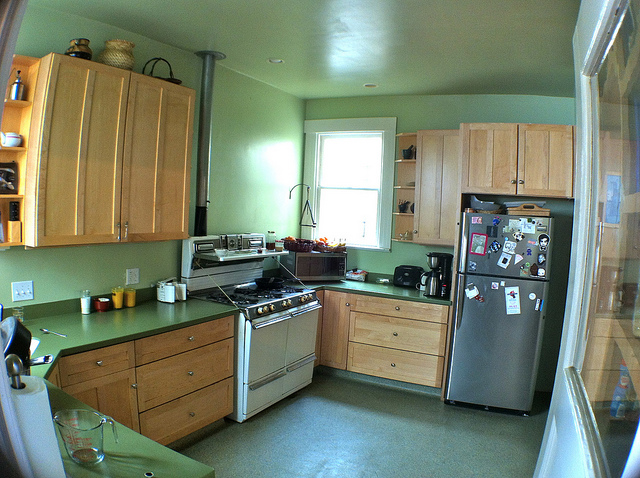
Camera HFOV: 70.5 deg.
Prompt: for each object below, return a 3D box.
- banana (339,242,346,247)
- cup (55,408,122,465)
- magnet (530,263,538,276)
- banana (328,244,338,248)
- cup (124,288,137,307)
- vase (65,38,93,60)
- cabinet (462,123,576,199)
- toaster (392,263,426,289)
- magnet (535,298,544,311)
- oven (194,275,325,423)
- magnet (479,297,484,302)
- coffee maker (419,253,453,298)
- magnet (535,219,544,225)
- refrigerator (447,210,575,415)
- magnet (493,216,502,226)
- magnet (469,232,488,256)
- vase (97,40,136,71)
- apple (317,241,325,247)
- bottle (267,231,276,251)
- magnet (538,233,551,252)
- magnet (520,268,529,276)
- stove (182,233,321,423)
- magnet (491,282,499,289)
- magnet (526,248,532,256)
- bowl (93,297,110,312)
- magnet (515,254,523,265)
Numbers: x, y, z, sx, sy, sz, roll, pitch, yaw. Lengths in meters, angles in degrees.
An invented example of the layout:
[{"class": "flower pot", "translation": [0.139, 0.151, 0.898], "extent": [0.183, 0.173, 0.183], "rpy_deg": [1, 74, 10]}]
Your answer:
[{"class": "banana", "translation": [0.234, 0.051, 4.872], "extent": [0.042, 0.022, 0.077], "rpy_deg": [-1, 6, -27]}, {"class": "cup", "translation": [-0.789, 0.683, 1.550], "extent": [0.176, 0.134, 0.113], "rpy_deg": [-3, -5, -4]}, {"class": "magnet", "translation": [1.802, 0.253, 3.806], "extent": [0.066, 0.087, 0.021], "rpy_deg": [1, 1, 16]}, {"class": "banana", "translation": [0.143, 0.059, 4.810], "extent": [0.073, 0.020, 0.124], "rpy_deg": [9, 9, 43]}, {"class": "cup", "translation": [-1.388, 0.428, 3.318], "extent": [0.112, 0.143, 0.108], "rpy_deg": [3, -1, 0]}, {"class": "vase", "translation": [-1.484, -1.160, 2.783], "extent": [0.156, 0.137, 0.152], "rpy_deg": [-2, 4, -27]}, {"class": "cabinet", "translation": [1.764, -0.698, 4.255], "extent": [1.048, 0.665, 0.562], "rpy_deg": [2, -3, -1]}, {"class": "toaster", "translation": [0.912, 0.348, 4.756], "extent": [0.368, 0.314, 0.220], "rpy_deg": [4, 6, 28]}, {"class": "magnet", "translation": [1.850, 0.545, 3.816], "extent": [0.081, 0.078, 0.022], "rpy_deg": [1, -4, 43]}, {"class": "oven", "translation": [-0.557, 0.886, 4.021], "extent": [0.735, 0.997, 1.085], "rpy_deg": [3, 4, 25]}, {"class": "magnet", "translation": [1.391, 0.513, 3.893], "extent": [0.042, 0.037, 0.010], "rpy_deg": [-15, 4, 19]}, {"class": "coffee maker", "translation": [1.151, 0.319, 4.358], "extent": [0.337, 0.434, 0.238], "rpy_deg": [6, 13, 31]}, {"class": "magnet", "translation": [1.845, -0.149, 3.807], "extent": [0.055, 0.048, 0.018], "rpy_deg": [1, 7, 13]}, {"class": "refrigerator", "translation": [1.822, 0.637, 4.130], "extent": [1.302, 1.749, 0.594], "rpy_deg": [0, 7, -29]}, {"class": "magnet", "translation": [1.515, -0.154, 3.875], "extent": [0.064, 0.076, 0.011], "rpy_deg": [4, 6, 2]}, {"class": "magnet", "translation": [1.369, 0.042, 3.925], "extent": [0.139, 0.182, 0.189], "rpy_deg": [7, -2, 15]}, {"class": "vase", "translation": [-1.319, -1.192, 2.985], "extent": [0.218, 0.230, 0.211], "rpy_deg": [2, -3, -18]}, {"class": "apple", "translation": [0.008, 0.046, 4.783], "extent": [0.074, 0.047, 0.072], "rpy_deg": [3, 6, -3]}, {"class": "bottle", "translation": [-0.498, 0.011, 4.574], "extent": [0.075, 0.166, 0.246], "rpy_deg": [3, 6, -8]}, {"class": "magnet", "translation": [1.876, 0.018, 3.798], "extent": [0.088, 0.142, 0.021], "rpy_deg": [4, 6, 6]}, {"class": "magnet", "translation": [1.722, 0.278, 3.822], "extent": [0.085, 0.077, 0.043], "rpy_deg": [3, 6, 19]}, {"class": "stove", "translation": [-0.568, 0.714, 3.998], "extent": [0.788, 1.381, 1.068], "rpy_deg": [7, 7, 33]}, {"class": "magnet", "translation": [1.495, 0.388, 3.862], "extent": [0.065, 0.060, 0.016], "rpy_deg": [2, -2, 18]}, {"class": "magnet", "translation": [1.767, 0.099, 3.816], "extent": [0.034, 0.053, 0.013], "rpy_deg": [4, 6, -1]}, {"class": "bowl", "translation": [-1.521, 0.456, 3.148], "extent": [0.086, 0.062, 0.092], "rpy_deg": [0, -5, 0]}, {"class": "magnet", "translation": [1.682, 0.161, 3.835], "extent": [0.059, 0.080, 0.015], "rpy_deg": [3, 6, -1]}]
